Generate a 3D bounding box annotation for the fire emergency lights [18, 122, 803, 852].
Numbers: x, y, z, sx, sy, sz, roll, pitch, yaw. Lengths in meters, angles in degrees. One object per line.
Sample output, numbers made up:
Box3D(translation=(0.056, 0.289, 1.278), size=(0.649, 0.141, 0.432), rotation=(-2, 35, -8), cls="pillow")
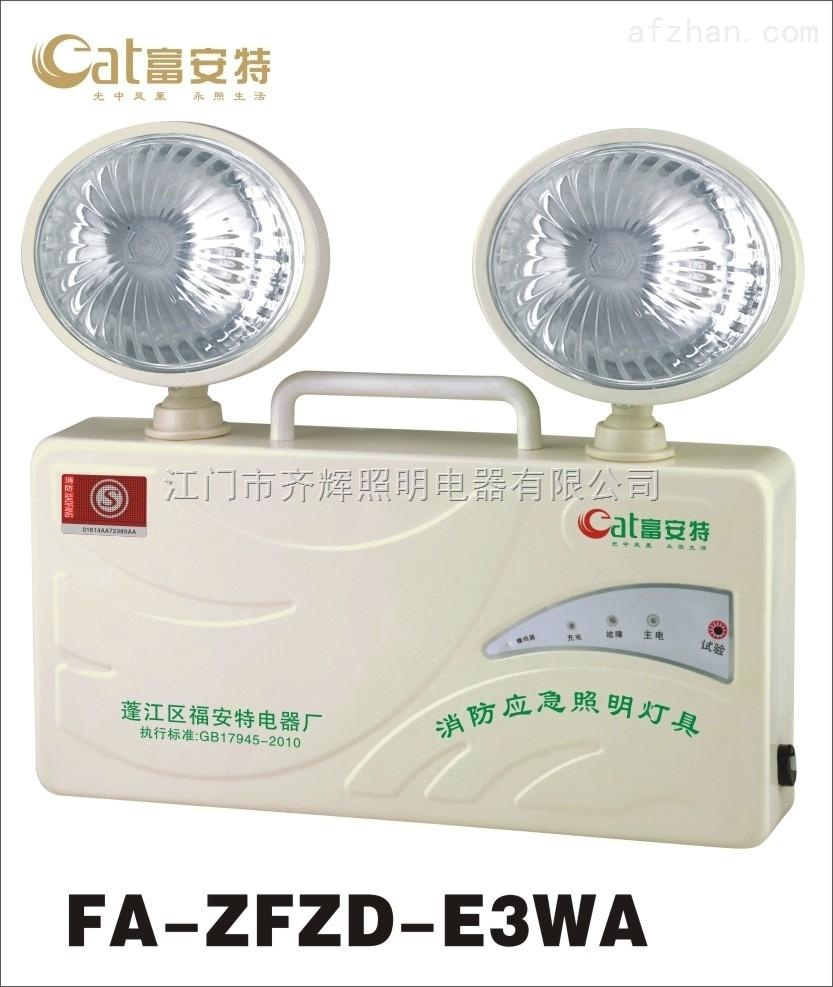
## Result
Box3D(translation=(0.051, 0.002, 2.213), size=(1.643, 1.162, 0.291), rotation=(1, 7, 11), cls="fire emergency lights")
